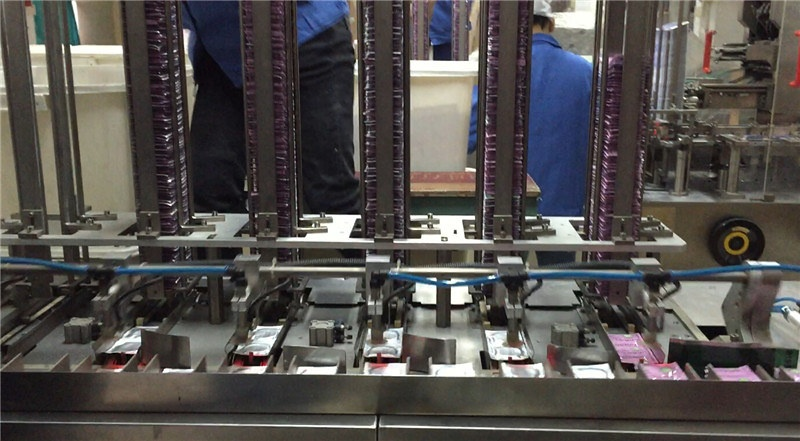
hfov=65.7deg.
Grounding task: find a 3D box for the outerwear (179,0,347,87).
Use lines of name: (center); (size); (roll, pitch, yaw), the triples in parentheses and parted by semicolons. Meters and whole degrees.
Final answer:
outerwear: (-0.866, -1.105, 3.749); (1.075, 0.637, 0.500); (-7, -64, 3)
